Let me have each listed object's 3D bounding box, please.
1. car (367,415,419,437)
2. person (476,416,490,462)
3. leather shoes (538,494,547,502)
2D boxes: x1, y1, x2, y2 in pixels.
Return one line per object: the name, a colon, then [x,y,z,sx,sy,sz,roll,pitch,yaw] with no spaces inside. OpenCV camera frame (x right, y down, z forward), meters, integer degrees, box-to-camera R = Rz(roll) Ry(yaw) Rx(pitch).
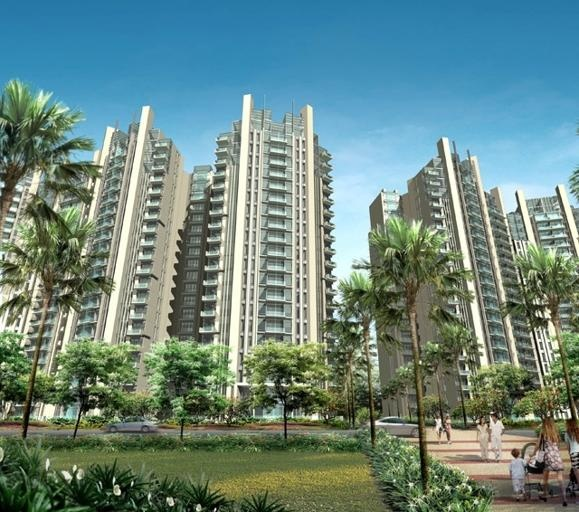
car: [8.936,14.376,37.665,3.219,1.490,3.017,-4,-19,9]
person: [8.231,7.708,18.959,0.500,1.782,1.200,-10,-23,19]
leather shoes: [6.638,6.351,11.742,0.285,0.068,0.247,5,-6,-5]
